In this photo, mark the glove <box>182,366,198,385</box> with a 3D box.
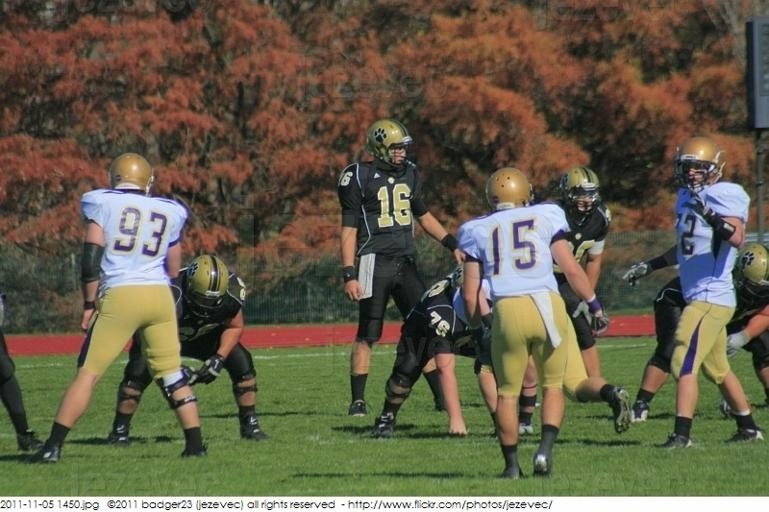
[{"bbox_3d":[-2.457,1.517,16.190,0.174,0.090,0.226,23,17,-43],"label":"glove"}]

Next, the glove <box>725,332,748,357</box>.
[{"bbox_3d":[4.748,1.204,17.501,0.284,0.328,0.338,7,-13,-14],"label":"glove"}]

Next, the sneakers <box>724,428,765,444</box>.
[{"bbox_3d":[4.601,2.286,16.310,0.519,0.212,0.174,0,-2,0],"label":"sneakers"}]

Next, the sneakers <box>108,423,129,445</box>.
[{"bbox_3d":[-3.407,2.283,16.463,0.302,0.282,0.189,0,-1,7],"label":"sneakers"}]

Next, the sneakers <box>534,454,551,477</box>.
[{"bbox_3d":[1.875,2.469,15.241,0.216,0.293,0.131,-1,5,-4],"label":"sneakers"}]

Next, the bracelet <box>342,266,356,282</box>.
[{"bbox_3d":[-0.479,0.239,17.596,0.187,0.251,0.390,-1,5,-1],"label":"bracelet"}]

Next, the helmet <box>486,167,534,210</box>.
[{"bbox_3d":[1.528,-0.821,15.614,0.551,0.496,0.428,-20,29,-21],"label":"helmet"}]

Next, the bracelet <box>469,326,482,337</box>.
[{"bbox_3d":[1.128,0.943,16.007,0.147,0.104,0.147,0,4,16],"label":"bracelet"}]

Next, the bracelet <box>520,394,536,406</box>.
[{"bbox_3d":[1.869,1.869,16.719,0.144,0.093,0.142,0,2,-1],"label":"bracelet"}]

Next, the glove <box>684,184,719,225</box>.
[{"bbox_3d":[4.012,-0.599,16.287,0.206,0.685,0.180,-35,-14,-48],"label":"glove"}]

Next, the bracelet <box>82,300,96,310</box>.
[{"bbox_3d":[-3.712,0.579,16.132,0.155,0.095,0.134,-1,-18,-2],"label":"bracelet"}]

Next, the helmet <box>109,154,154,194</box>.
[{"bbox_3d":[-3.159,-1.050,16.150,0.456,0.475,0.531,3,13,4],"label":"helmet"}]

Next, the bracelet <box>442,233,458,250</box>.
[{"bbox_3d":[0.921,-0.189,17.856,0.180,0.111,0.236,14,13,-28],"label":"bracelet"}]

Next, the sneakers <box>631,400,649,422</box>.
[{"bbox_3d":[3.393,2.055,17.040,0.217,0.226,0.511,0,-2,33],"label":"sneakers"}]

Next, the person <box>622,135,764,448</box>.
[{"bbox_3d":[4.090,0.414,16.352,1.192,3.840,0.802,-2,6,-15],"label":"person"}]

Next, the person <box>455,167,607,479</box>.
[{"bbox_3d":[1.661,0.788,15.459,1.533,3.661,0.873,-1,5,2],"label":"person"}]

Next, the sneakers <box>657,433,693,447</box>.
[{"bbox_3d":[3.644,2.308,16.106,0.410,0.179,0.149,0,-3,-3],"label":"sneakers"}]

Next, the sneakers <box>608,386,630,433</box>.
[{"bbox_3d":[2.861,1.828,15.530,0.208,0.558,0.258,-10,12,-26],"label":"sneakers"}]

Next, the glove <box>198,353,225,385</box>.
[{"bbox_3d":[-2.214,1.442,16.288,0.368,0.162,0.273,-37,-34,4],"label":"glove"}]

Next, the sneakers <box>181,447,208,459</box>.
[{"bbox_3d":[-2.345,2.425,15.935,0.335,0.137,0.123,2,1,9],"label":"sneakers"}]

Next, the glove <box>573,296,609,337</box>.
[{"bbox_3d":[2.697,0.760,16.723,0.300,0.263,0.747,-22,-35,2],"label":"glove"}]

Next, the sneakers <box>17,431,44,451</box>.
[{"bbox_3d":[-4.512,2.347,16.385,0.348,0.234,0.186,-2,4,10],"label":"sneakers"}]
